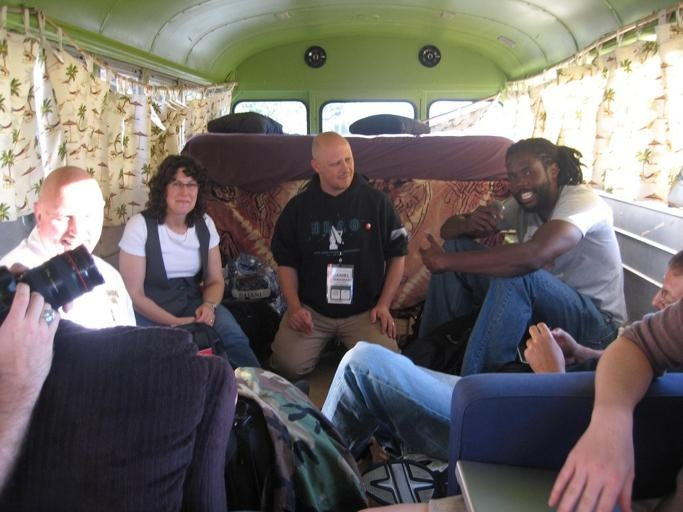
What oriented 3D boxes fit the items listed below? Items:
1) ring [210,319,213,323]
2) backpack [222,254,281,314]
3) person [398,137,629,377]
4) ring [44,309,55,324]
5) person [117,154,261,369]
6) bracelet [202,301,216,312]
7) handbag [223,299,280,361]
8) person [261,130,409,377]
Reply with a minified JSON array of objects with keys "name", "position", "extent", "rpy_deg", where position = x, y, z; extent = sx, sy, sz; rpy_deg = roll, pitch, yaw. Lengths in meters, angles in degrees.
[{"name":"ring","position":[-0.758,0.383,2.952],"extent":[0.012,0.013,0.012],"rpy_deg":[1,9,0]},{"name":"backpack","position":[-0.628,0.161,3.524],"extent":[0.301,0.166,0.406],"rpy_deg":[-4,23,-17]},{"name":"person","position":[0.974,0.100,2.873],"extent":[1.134,1.585,0.776],"rpy_deg":[10,2,-14]},{"name":"ring","position":[-0.680,0.143,1.177],"extent":[0.023,0.034,0.008],"rpy_deg":[4,-5,-30]},{"name":"person","position":[-0.875,0.142,2.918],"extent":[0.621,1.437,1.142],"rpy_deg":[-7,20,-37]},{"name":"bracelet","position":[-0.783,0.294,3.001],"extent":[0.056,0.024,0.059],"rpy_deg":[41,-1,-14]},{"name":"handbag","position":[-0.609,0.347,3.389],"extent":[0.326,0.425,0.580],"rpy_deg":[0,9,-17]},{"name":"person","position":[-0.038,0.050,3.151],"extent":[0.958,1.601,0.905],"rpy_deg":[-2,14,-3]}]
